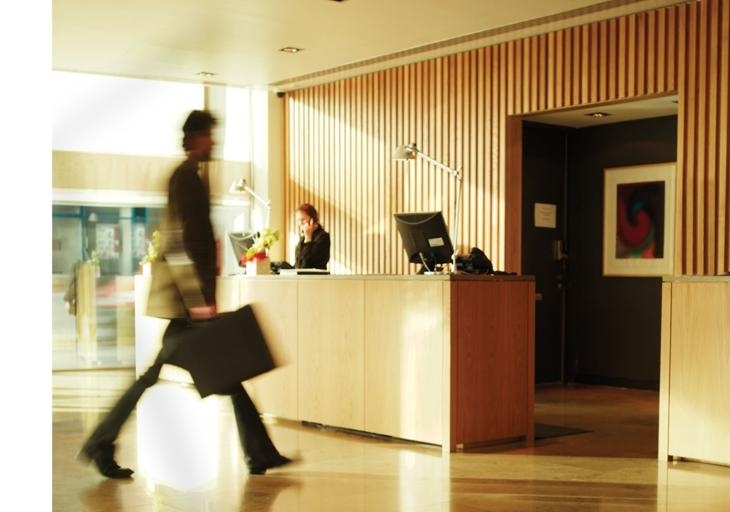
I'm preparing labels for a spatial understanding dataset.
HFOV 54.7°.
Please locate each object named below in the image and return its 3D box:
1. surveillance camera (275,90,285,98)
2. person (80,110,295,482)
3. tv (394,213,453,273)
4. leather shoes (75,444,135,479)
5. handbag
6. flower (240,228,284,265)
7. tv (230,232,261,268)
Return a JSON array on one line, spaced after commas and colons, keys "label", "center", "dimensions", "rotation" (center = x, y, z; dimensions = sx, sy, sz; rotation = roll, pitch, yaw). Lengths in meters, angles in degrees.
[{"label": "surveillance camera", "center": [-1.183, -2.310, 9.972], "dimensions": [0.087, 0.093, 0.090], "rotation": [0, 6, -8]}, {"label": "person", "center": [-0.480, 0.179, 2.033], "dimensions": [0.578, 1.009, 0.891], "rotation": [2, -2, -19]}, {"label": "tv", "center": [0.462, -0.115, 5.512], "dimensions": [0.453, 0.495, 0.180], "rotation": [-2, 14, 35]}, {"label": "leather shoes", "center": [-0.888, 0.719, 2.475], "dimensions": [0.145, 0.109, 0.053], "rotation": [17, -12, 1]}, {"label": "handbag", "center": [-0.386, 0.255, 1.926], "dimensions": [0.235, 0.240, 0.061], "rotation": [-30, 25, -17]}, {"label": "flower", "center": [-0.981, -0.099, 6.439], "dimensions": [0.277, 0.150, 0.313], "rotation": [14, 27, -5]}, {"label": "tv", "center": [-0.983, -0.060, 5.909], "dimensions": [0.290, 0.332, 0.273], "rotation": [1, -1, -20]}]
